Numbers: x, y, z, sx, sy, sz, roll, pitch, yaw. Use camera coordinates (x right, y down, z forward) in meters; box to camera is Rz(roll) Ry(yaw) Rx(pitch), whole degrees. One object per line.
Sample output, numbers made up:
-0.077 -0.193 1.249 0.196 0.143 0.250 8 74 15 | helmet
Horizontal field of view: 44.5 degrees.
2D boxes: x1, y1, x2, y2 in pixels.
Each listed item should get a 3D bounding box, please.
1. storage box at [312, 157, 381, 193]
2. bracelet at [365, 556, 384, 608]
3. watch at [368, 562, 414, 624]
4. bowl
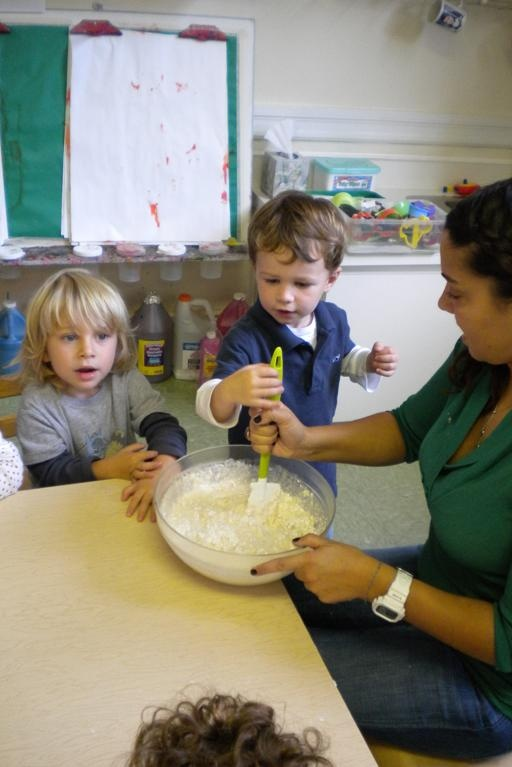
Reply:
0.351 -0.799 2.445 0.228 0.116 0.153 -2 32 -7 | storage box
0.163 0.266 0.860 0.012 0.042 0.046 9 22 15 | bracelet
0.187 0.291 0.849 0.049 0.068 0.078 24 48 8 | watch
-0.022 0.199 0.944 0.215 0.086 0.208 3 29 -1 | bowl
